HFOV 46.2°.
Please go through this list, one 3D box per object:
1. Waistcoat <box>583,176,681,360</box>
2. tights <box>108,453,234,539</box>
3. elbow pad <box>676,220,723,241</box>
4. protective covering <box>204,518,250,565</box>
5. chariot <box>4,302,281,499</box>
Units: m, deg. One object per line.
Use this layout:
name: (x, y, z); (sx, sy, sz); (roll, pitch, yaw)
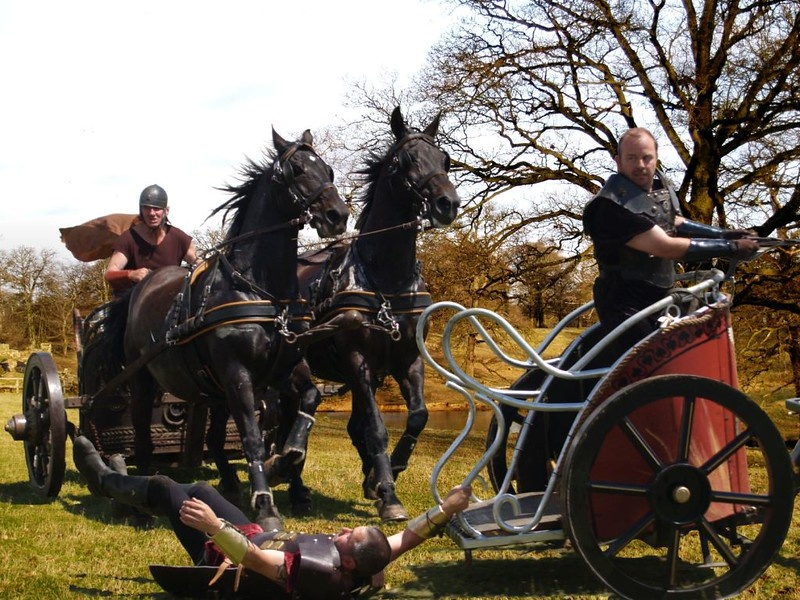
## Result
Waistcoat: (1.723, -0.221, 7.188); (0.756, 1.348, 0.703); (1, 2, -3)
tights: (-1.582, 1.535, 6.714); (1.010, 0.497, 1.166); (-2, 3, -26)
elbow pad: (2.325, -0.529, 7.245); (0.245, 0.080, 0.228); (6, 0, 8)
protective covering: (-1.176, 1.650, 6.369); (0.326, 0.238, 0.217); (38, -54, -20)
chariot: (-1.605, 1.024, 9.960); (2.858, 2.050, 3.800); (0, 0, -37)
